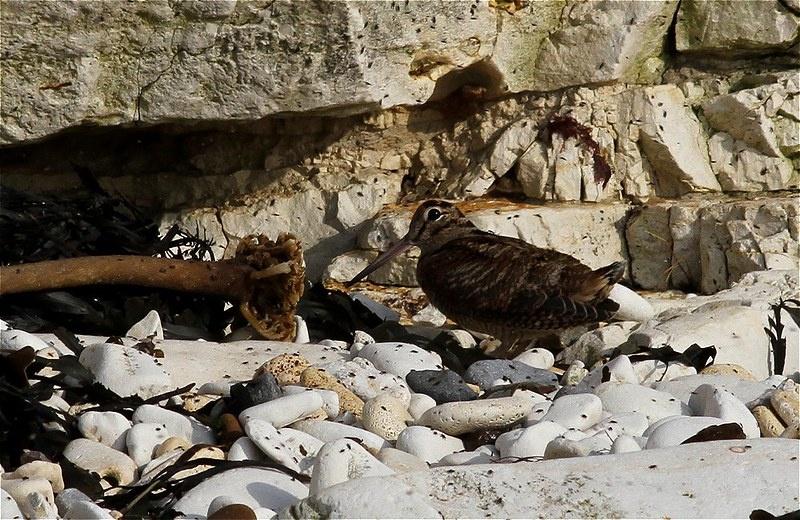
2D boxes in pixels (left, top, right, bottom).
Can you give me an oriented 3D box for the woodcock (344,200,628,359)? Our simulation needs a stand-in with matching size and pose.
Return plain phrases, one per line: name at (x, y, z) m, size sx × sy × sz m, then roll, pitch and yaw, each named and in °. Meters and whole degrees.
woodcock at (0.676, 0.134, 10.818) m, size 2.100 × 1.052 × 0.762 m, roll 2°, pitch 9°, yaw 40°
